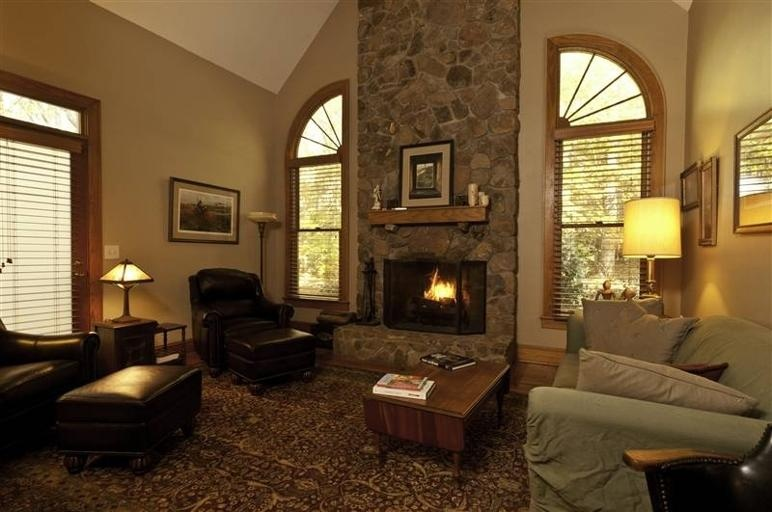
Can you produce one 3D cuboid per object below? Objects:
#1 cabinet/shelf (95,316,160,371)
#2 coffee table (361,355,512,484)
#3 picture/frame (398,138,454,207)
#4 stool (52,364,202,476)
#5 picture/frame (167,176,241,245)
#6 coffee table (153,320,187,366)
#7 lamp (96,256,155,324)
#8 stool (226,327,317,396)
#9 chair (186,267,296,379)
[{"bbox_3d":[-2.814,0.940,5.855,0.514,0.732,0.769,-4,-6,23],"label":"cabinet/shelf"},{"bbox_3d":[0.528,1.404,4.909,0.923,0.552,1.400,3,7,29],"label":"coffee table"},{"bbox_3d":[0.530,-1.031,6.609,0.949,1.032,0.049,1,1,25],"label":"picture/frame"},{"bbox_3d":[-2.268,1.425,4.794,0.865,0.683,1.154,-1,3,11],"label":"stool"},{"bbox_3d":[-2.402,-0.558,6.971,0.043,0.795,1.118,2,0,34],"label":"picture/frame"},{"bbox_3d":[-2.553,1.066,6.225,0.447,0.517,0.548,-1,2,-33],"label":"coffee table"},{"bbox_3d":[-2.840,0.384,5.756,0.688,0.689,0.673,1,3,9],"label":"lamp"},{"bbox_3d":[-1.334,1.154,5.852,0.644,0.554,0.915,0,0,37],"label":"stool"},{"bbox_3d":[-1.806,0.720,6.377,1.060,1.175,0.956,-3,0,-35],"label":"chair"}]
